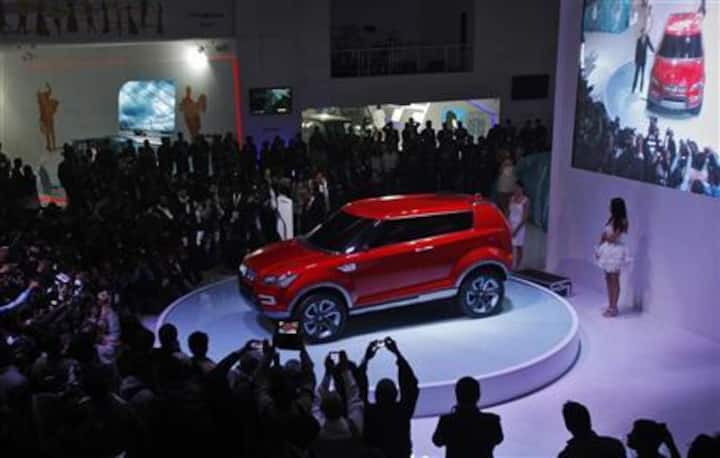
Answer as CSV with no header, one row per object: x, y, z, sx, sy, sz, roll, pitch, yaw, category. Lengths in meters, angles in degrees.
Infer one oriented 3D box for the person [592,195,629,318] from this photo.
4.864,0.566,9.097,0.583,2.328,0.399,1,11,15,person

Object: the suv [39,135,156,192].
-8.392,-2.570,14.924,3.188,1.860,1.954,-8,15,9,suv

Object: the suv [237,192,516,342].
0.170,0.658,8.959,4.616,2.239,2.320,-4,14,-18,suv

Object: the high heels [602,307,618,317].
4.927,1.646,9.288,0.257,0.117,0.158,-2,19,-8,high heels
